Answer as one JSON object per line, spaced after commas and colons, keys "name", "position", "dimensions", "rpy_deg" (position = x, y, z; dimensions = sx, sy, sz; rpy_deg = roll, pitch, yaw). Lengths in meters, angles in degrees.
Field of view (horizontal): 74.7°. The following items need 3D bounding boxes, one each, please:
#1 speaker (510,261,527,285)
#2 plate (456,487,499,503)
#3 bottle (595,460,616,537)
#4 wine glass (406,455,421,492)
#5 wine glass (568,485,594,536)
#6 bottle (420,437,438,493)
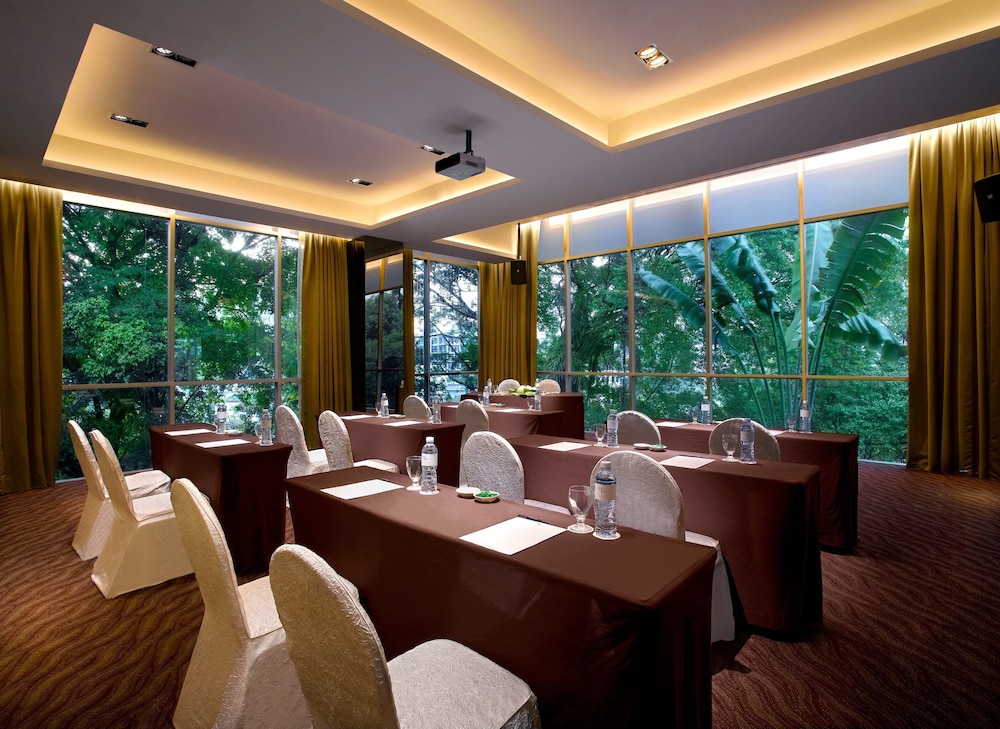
{"name": "speaker", "position": [0.301, -1.486, 10.418], "dimensions": [0.332, 0.343, 0.135], "rpy_deg": [-2, 5, 30]}
{"name": "plate", "position": [-0.137, 0.830, 4.201], "dimensions": [0.307, 0.066, 0.198], "rpy_deg": [-1, 2, 35]}
{"name": "bottle", "position": [0.598, 0.762, 3.720], "dimensions": [0.124, 0.384, 0.226], "rpy_deg": [-1, 2, 9]}
{"name": "wine glass", "position": [-0.567, 0.712, 4.391], "dimensions": [0.084, 0.213, 0.237], "rpy_deg": [-2, 2, -7]}
{"name": "wine glass", "position": [0.468, 0.819, 3.819], "dimensions": [0.138, 0.250, 0.316], "rpy_deg": [-1, 2, 8]}
{"name": "bottle", "position": [-0.472, 0.667, 4.332], "dimensions": [0.115, 0.325, 0.257], "rpy_deg": [-2, 2, -8]}
